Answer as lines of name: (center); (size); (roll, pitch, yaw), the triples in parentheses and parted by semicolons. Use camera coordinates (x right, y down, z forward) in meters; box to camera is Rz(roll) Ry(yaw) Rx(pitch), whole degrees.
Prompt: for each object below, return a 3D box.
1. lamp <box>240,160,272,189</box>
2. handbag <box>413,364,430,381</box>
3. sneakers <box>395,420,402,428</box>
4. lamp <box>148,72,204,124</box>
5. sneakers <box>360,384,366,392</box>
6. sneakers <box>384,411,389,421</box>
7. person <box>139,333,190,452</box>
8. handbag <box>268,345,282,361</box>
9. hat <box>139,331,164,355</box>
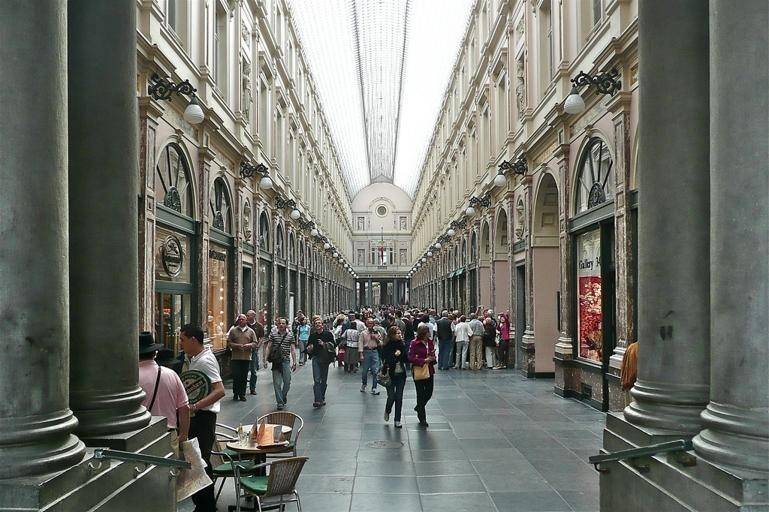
lamp: (-3.866, -2.473, 20.723); (1.397, 1.018, 0.497); (2, -1, 11)
handbag: (0.694, 2.173, 12.750); (0.278, 0.323, 0.131); (-1, -4, 4)
sneakers: (0.250, 3.134, 12.653); (0.090, 0.110, 0.261); (0, -13, -2)
lamp: (-4.258, -3.175, 13.698); (0.983, 1.284, 1.410); (1, -9, -19)
sneakers: (-0.577, 3.426, 17.501); (0.094, 0.226, 0.225); (-3, -30, 26)
sneakers: (0.012, 3.102, 13.058); (0.126, 0.165, 0.172); (1, 2, 6)
person: (-2.313, 1.430, 7.109); (0.581, 1.253, 0.447); (3, -10, -32)
handbag: (-2.313, 2.047, 14.330); (0.285, 0.296, 0.136); (-2, -16, 15)
hat: (-2.489, 0.923, 7.186); (0.212, 0.138, 0.240); (-4, -9, -7)
